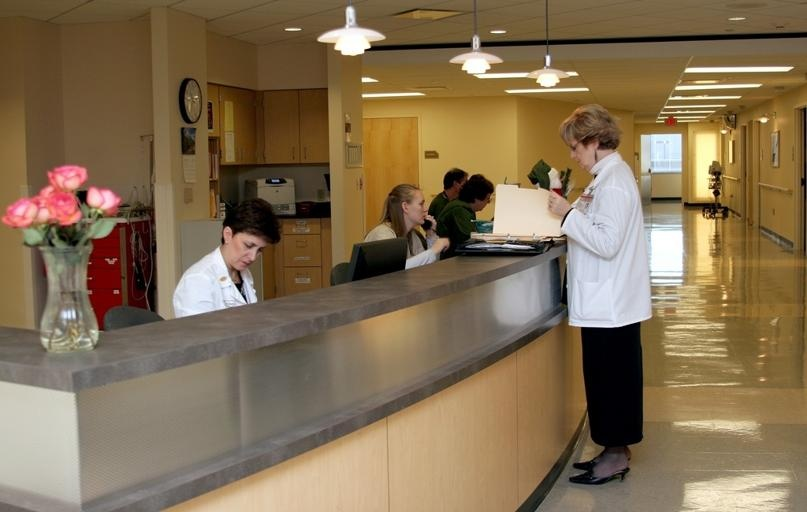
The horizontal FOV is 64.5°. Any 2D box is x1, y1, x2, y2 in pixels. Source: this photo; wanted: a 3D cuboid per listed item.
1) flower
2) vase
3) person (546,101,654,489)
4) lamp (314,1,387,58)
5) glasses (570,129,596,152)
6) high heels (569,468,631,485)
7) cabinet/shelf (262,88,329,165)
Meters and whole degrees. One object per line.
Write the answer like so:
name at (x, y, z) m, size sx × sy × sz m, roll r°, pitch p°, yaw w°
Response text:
flower at (-1.269, -0.195, 2.435) m, size 0.364 × 0.327 × 0.345 m, roll 0°, pitch 18°, yaw -6°
vase at (-1.271, 0.144, 2.393) m, size 0.207 × 0.384 × 0.230 m, roll -7°, pitch 13°, yaw -29°
person at (1.313, 0.299, 4.357) m, size 0.655 × 2.592 × 0.476 m, roll 3°, pitch 12°, yaw 19°
lamp at (-0.361, -1.420, 3.993) m, size 0.365 × 0.350 × 0.524 m, roll -3°, pitch 11°, yaw -10°
glasses at (1.157, -0.758, 4.268) m, size 0.108 × 0.125 × 0.222 m, roll -8°, pitch 13°, yaw -33°
high heels at (1.361, 1.510, 4.503) m, size 0.354 × 0.084 × 0.154 m, roll 4°, pitch -5°, yaw 1°
cabinet/shelf at (-1.582, -1.923, 9.290) m, size 1.121 × 0.937 × 0.439 m, roll 0°, pitch 9°, yaw 6°
